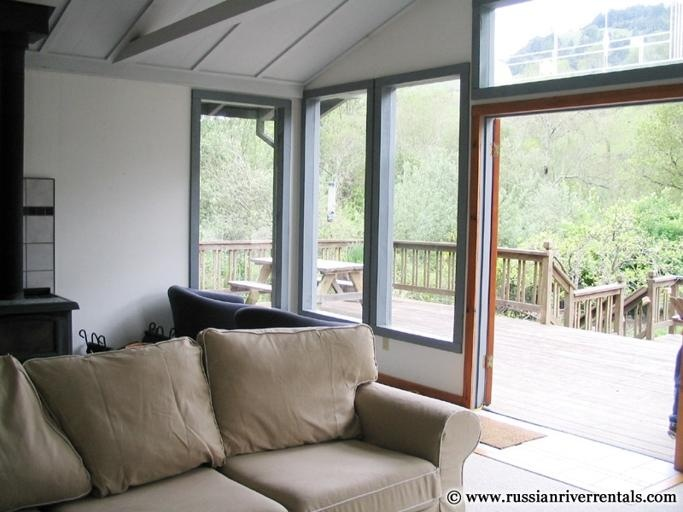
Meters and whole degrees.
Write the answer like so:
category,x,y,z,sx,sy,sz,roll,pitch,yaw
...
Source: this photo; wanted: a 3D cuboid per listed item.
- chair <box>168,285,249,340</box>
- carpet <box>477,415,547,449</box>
category,x,y,z,sx,sy,sz,roll,pitch,yaw
chair,-1.187,0.480,4.559,0.554,0.521,0.569,-3,2,-18
carpet,1.219,1.348,4.030,0.529,0.032,0.499,7,9,38
